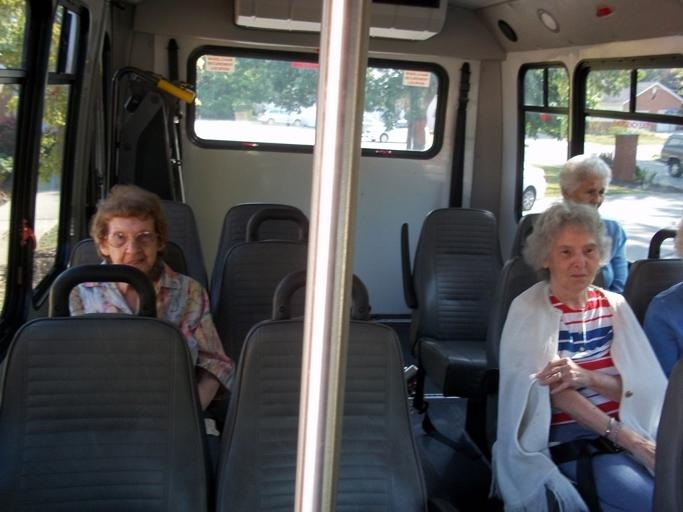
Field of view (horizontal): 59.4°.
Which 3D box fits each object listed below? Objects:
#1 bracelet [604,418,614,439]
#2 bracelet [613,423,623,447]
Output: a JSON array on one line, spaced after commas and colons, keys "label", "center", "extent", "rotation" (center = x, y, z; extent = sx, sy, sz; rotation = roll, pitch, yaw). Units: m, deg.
[{"label": "bracelet", "center": [1.166, 0.750, 2.596], "extent": [0.017, 0.065, 0.065], "rotation": [17, 18, 26]}, {"label": "bracelet", "center": [1.187, 0.771, 2.572], "extent": [0.056, 0.080, 0.028], "rotation": [-12, -31, 36]}]
